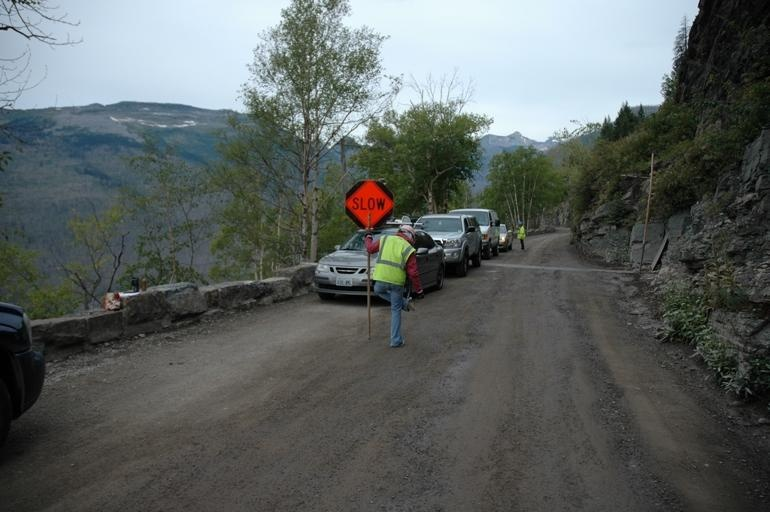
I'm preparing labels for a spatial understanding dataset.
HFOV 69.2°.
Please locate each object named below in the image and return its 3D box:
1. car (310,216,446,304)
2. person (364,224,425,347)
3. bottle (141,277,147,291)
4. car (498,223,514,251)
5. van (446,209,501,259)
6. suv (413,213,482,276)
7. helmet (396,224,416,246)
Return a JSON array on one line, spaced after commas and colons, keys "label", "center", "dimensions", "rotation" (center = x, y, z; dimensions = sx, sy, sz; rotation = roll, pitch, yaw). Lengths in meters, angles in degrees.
[{"label": "car", "center": [-0.108, 0.136, 16.748], "dimensions": [1.952, 1.564, 3.470], "rotation": [-2, -1, 29]}, {"label": "person", "center": [0.240, 0.572, 12.269], "dimensions": [0.938, 2.489, 1.142], "rotation": [-6, 8, -27]}, {"label": "bottle", "center": [-5.528, 0.642, 12.838], "dimensions": [0.129, 0.257, 0.335], "rotation": [-6, 9, -25]}, {"label": "car", "center": [7.496, -1.143, 34.704], "dimensions": [0.889, 0.857, 1.983], "rotation": [-2, 0, 16]}, {"label": "van", "center": [4.852, -1.210, 27.849], "dimensions": [1.805, 1.732, 3.373], "rotation": [-1, -1, 17]}, {"label": "suv", "center": [2.677, -0.551, 21.767], "dimensions": [1.597, 1.547, 3.212], "rotation": [0, -2, 16]}, {"label": "helmet", "center": [0.487, -0.469, 12.306], "dimensions": [0.299, 0.406, 0.434], "rotation": [16, -23, 14]}]
